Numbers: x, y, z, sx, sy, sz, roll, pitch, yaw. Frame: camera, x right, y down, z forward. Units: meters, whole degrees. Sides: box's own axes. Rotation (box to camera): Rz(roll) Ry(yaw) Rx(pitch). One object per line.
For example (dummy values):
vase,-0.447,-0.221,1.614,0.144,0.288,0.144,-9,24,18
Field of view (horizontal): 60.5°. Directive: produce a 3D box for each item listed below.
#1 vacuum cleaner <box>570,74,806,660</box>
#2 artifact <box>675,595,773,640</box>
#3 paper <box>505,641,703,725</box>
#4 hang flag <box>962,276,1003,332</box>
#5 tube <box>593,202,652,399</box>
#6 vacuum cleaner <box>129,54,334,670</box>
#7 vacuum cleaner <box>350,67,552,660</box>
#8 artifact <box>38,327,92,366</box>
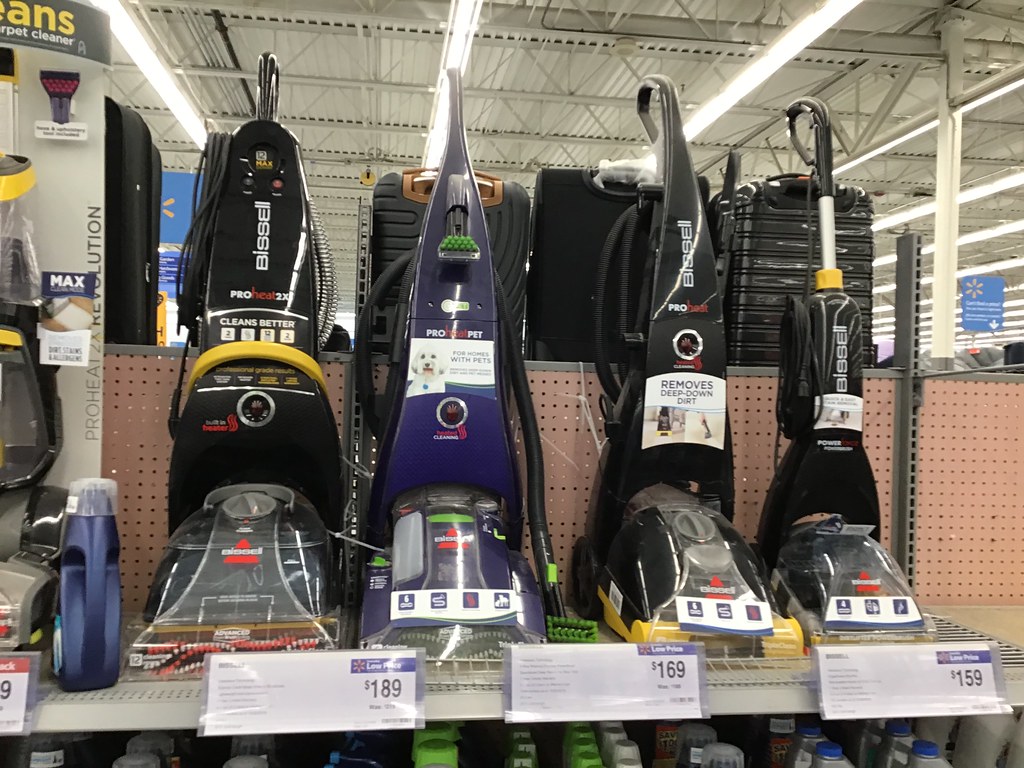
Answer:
vacuum cleaner,0.372,-0.090,1.966,0.390,1.267,0.629,0,3,-12
artifact,0.420,0.464,1.742,0.192,0.072,0.039,0,3,-6
paper,0.175,0.565,1.647,0.380,0.141,0.084,-3,-25,5
hang flag,5.777,-0.972,10.757,0.651,0.908,0.039,0,-4,13
tube,0.265,-0.216,2.116,0.096,0.416,0.226,3,-4,20
vacuum cleaner,-0.561,-0.110,1.856,0.406,1.284,0.609,0,3,-12
vacuum cleaner,-0.119,-0.084,1.867,0.422,1.203,0.577,0,3,-11
artifact,-0.971,-0.075,1.902,0.119,0.101,0.069,1,-5,-25
